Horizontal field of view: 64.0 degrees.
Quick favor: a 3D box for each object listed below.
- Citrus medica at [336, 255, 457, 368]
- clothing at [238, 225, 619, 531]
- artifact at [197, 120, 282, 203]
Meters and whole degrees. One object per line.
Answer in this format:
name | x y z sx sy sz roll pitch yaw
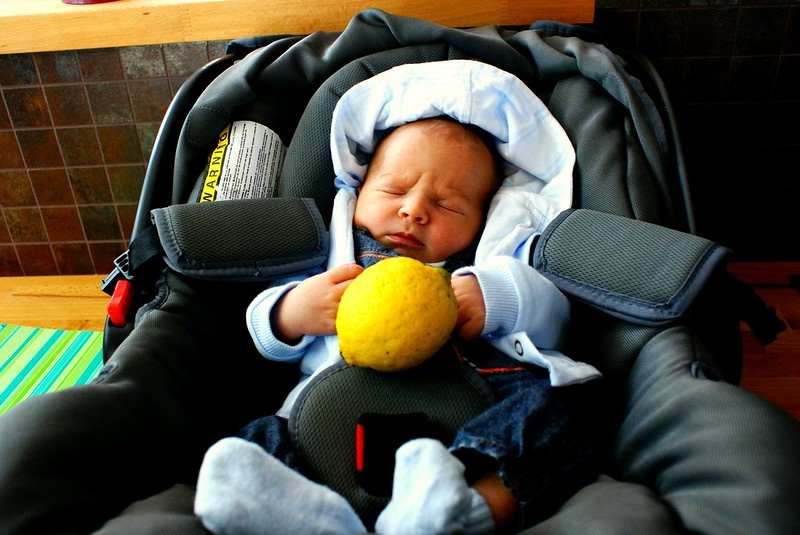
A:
Citrus medica | -0.008 0.100 1.223 0.229 0.216 0.117 0 29 1
clothing | 0.126 0.226 1.313 0.520 0.172 0.423 41 27 23
artifact | -0.406 -0.255 1.681 0.184 0.248 0.150 8 -6 -24
